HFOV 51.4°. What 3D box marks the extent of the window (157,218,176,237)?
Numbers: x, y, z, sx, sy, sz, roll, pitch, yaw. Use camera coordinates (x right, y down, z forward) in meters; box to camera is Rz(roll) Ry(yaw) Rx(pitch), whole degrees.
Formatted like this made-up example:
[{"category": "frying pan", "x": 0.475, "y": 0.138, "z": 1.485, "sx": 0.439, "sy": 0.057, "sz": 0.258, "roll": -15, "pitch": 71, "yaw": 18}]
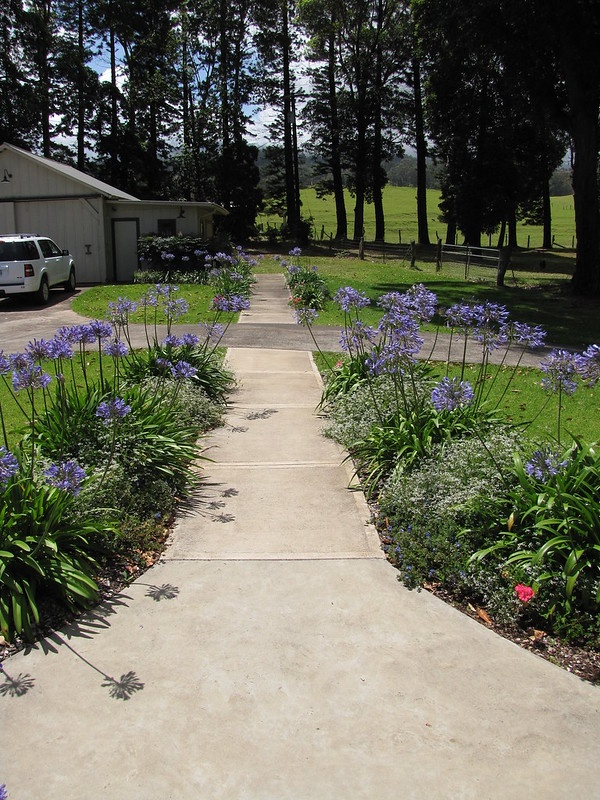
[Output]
[{"category": "window", "x": -5.938, "y": -7.671, "z": 27.601, "sx": 1.017, "sy": 1.146, "sz": 0.113, "roll": 1, "pitch": 12, "yaw": -3}]
